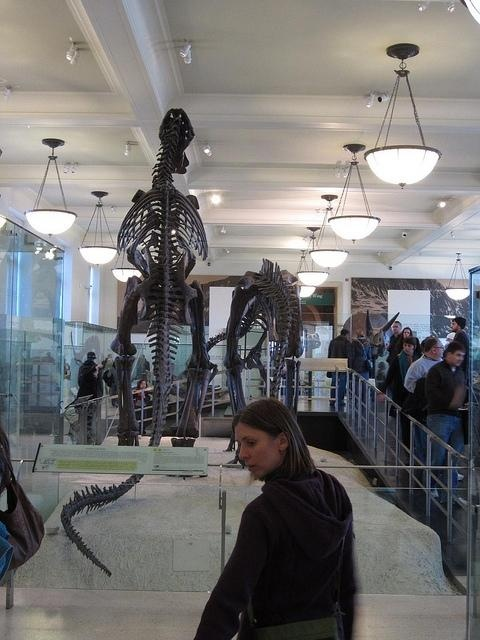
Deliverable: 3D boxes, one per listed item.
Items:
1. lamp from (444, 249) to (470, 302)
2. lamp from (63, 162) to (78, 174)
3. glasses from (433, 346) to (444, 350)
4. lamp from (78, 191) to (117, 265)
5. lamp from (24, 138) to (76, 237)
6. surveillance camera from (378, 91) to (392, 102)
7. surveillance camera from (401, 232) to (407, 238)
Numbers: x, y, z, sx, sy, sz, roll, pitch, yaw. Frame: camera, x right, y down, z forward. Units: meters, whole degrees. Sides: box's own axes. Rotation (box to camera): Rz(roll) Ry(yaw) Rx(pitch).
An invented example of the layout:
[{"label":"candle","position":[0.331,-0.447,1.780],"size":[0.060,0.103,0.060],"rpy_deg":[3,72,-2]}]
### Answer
[{"label":"lamp","position":[6.654,-1.263,15.086],"size":[0.581,1.540,1.746],"rpy_deg":[5,10,21]},{"label":"lamp","position":[-2.824,-2.556,8.329],"size":[0.192,0.080,0.268],"rpy_deg":[1,-38,-9]},{"label":"glasses","position":[2.216,0.305,5.514],"size":[0.149,0.046,0.155],"rpy_deg":[0,-2,5]},{"label":"lamp","position":[-2.912,-1.872,10.257],"size":[0.702,1.470,0.723],"rpy_deg":[0,17,-21]},{"label":"lamp","position":[-2.946,-2.099,7.807],"size":[0.692,1.516,0.707],"rpy_deg":[1,-1,29]},{"label":"surveillance camera","position":[1.682,-2.592,5.718],"size":[0.173,0.173,0.068],"rpy_deg":[4,-45,19]},{"label":"surveillance camera","position":[4.232,-2.191,12.678],"size":[0.102,0.114,0.132],"rpy_deg":[0,7,7]}]
